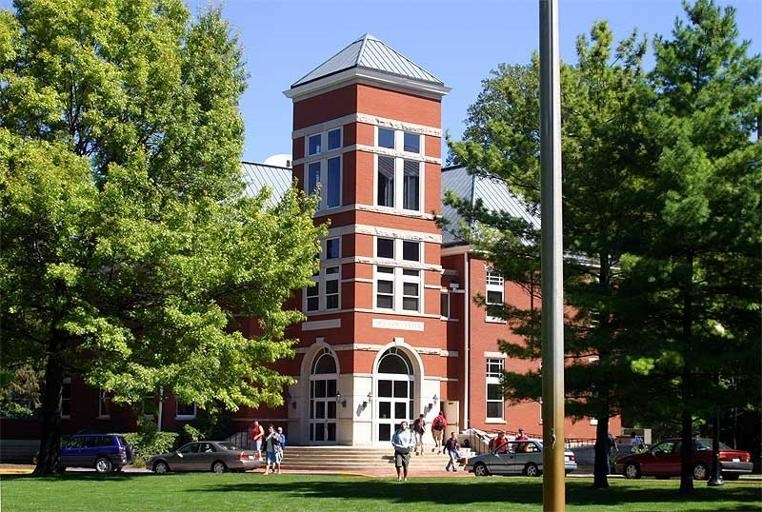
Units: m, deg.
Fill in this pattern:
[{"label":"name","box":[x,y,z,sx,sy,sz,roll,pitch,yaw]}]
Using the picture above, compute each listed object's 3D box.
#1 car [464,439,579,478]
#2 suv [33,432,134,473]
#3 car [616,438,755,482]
[{"label":"car","box":[6.342,9.308,48.565,4.887,1.731,2.059,-11,-17,41]},{"label":"suv","box":[-14.129,9.502,51.171,4.101,1.800,1.941,-1,-4,4]},{"label":"car","box":[12.954,8.921,46.213,5.120,1.696,2.402,-5,-12,40]}]
